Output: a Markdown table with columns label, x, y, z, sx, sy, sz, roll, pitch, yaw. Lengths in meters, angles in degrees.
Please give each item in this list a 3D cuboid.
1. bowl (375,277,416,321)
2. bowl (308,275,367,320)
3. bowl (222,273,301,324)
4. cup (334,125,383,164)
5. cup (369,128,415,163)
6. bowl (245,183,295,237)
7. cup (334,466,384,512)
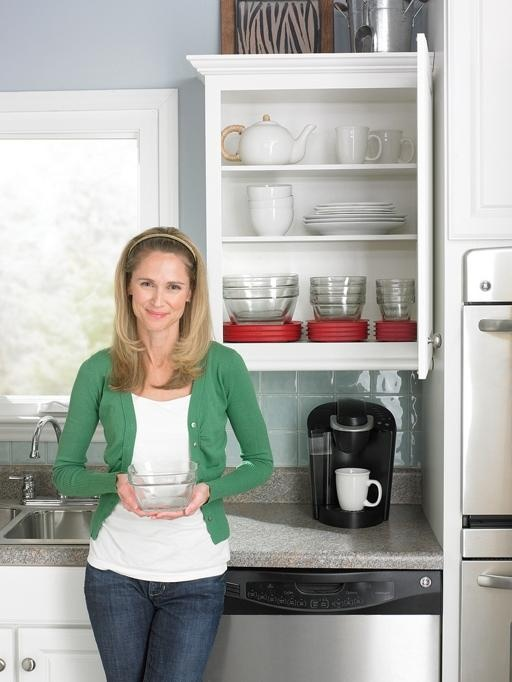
| label | x | y | z | sx | sy | sz | roll | pitch | yaw |
| --- | --- | --- | --- | --- | --- | --- | --- | --- | --- |
| bowl | 0.384 | -0.111 | 1.783 | 0.101 | 0.114 | 0.078 | -2 | 6 | 13 |
| bowl | 0.225 | -0.117 | 1.757 | 0.124 | 0.095 | 0.135 | 0 | 1 | 0 |
| bowl | 0.012 | -0.113 | 1.738 | 0.154 | 0.092 | 0.160 | -1 | -2 | 0 |
| cup | 0.277 | -0.542 | 1.794 | 0.152 | 0.101 | 0.093 | 0 | 3 | -3 |
| cup | 0.376 | -0.559 | 1.885 | 0.155 | 0.096 | 0.094 | 0 | 8 | 7 |
| bowl | 0.038 | -0.355 | 1.796 | 0.149 | 0.151 | 0.142 | -1 | 3 | 0 |
| cup | 0.262 | 0.401 | 1.703 | 0.137 | 0.095 | 0.086 | 0 | -9 | 7 |
